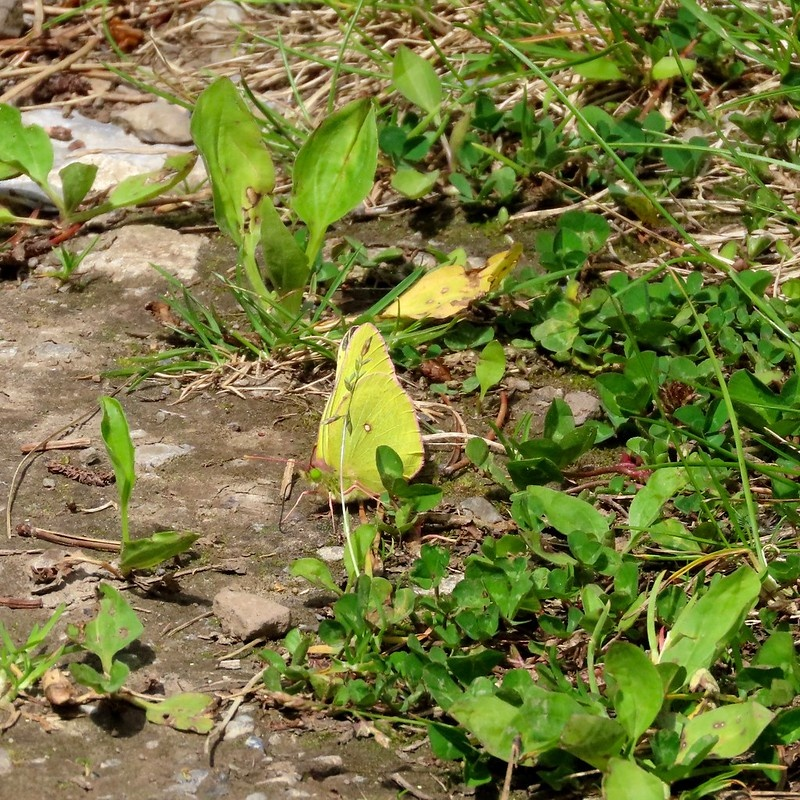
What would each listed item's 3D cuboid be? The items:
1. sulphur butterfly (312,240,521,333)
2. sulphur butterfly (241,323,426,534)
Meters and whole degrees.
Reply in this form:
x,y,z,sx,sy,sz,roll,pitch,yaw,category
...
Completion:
x,y,z,sx,sy,sz,roll,pitch,yaw,category
0.063,-0.304,2.838,0.620,0.277,0.116,-11,72,-10,sulphur butterfly
-0.077,0.052,2.424,0.557,0.478,0.563,-1,2,-28,sulphur butterfly
